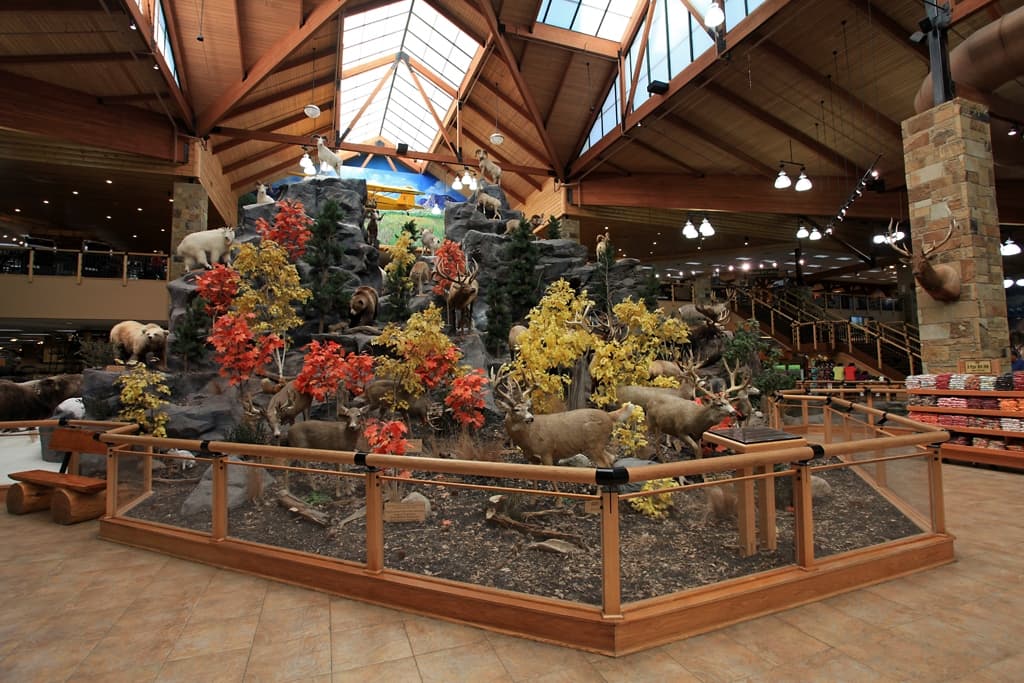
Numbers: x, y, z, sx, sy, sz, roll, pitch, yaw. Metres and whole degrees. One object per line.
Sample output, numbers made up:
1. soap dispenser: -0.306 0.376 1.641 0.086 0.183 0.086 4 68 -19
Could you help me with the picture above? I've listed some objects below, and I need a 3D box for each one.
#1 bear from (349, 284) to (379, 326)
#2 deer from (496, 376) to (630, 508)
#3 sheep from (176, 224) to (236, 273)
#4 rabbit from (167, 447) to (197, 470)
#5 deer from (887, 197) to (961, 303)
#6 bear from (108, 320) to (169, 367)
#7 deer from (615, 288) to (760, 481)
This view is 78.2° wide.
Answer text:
1. bear: -3.605 -0.853 15.395 0.605 0.972 0.662 -1 -1 -14
2. deer: 0.646 1.345 9.161 2.280 1.285 0.803 1 2 -19
3. sheep: -7.359 -2.179 15.159 1.011 1.080 0.841 -2 -1 27
4. rabbit: -4.446 1.580 8.502 0.495 0.166 0.467 7 8 -41
5. deer: 7.637 -1.472 11.585 1.233 1.525 1.023 0 -8 11
6. bear: -8.266 0.023 14.069 1.534 0.923 0.607 -2 -1 30
7. deer: 2.671 1.112 9.974 2.426 1.588 1.150 7 15 41
